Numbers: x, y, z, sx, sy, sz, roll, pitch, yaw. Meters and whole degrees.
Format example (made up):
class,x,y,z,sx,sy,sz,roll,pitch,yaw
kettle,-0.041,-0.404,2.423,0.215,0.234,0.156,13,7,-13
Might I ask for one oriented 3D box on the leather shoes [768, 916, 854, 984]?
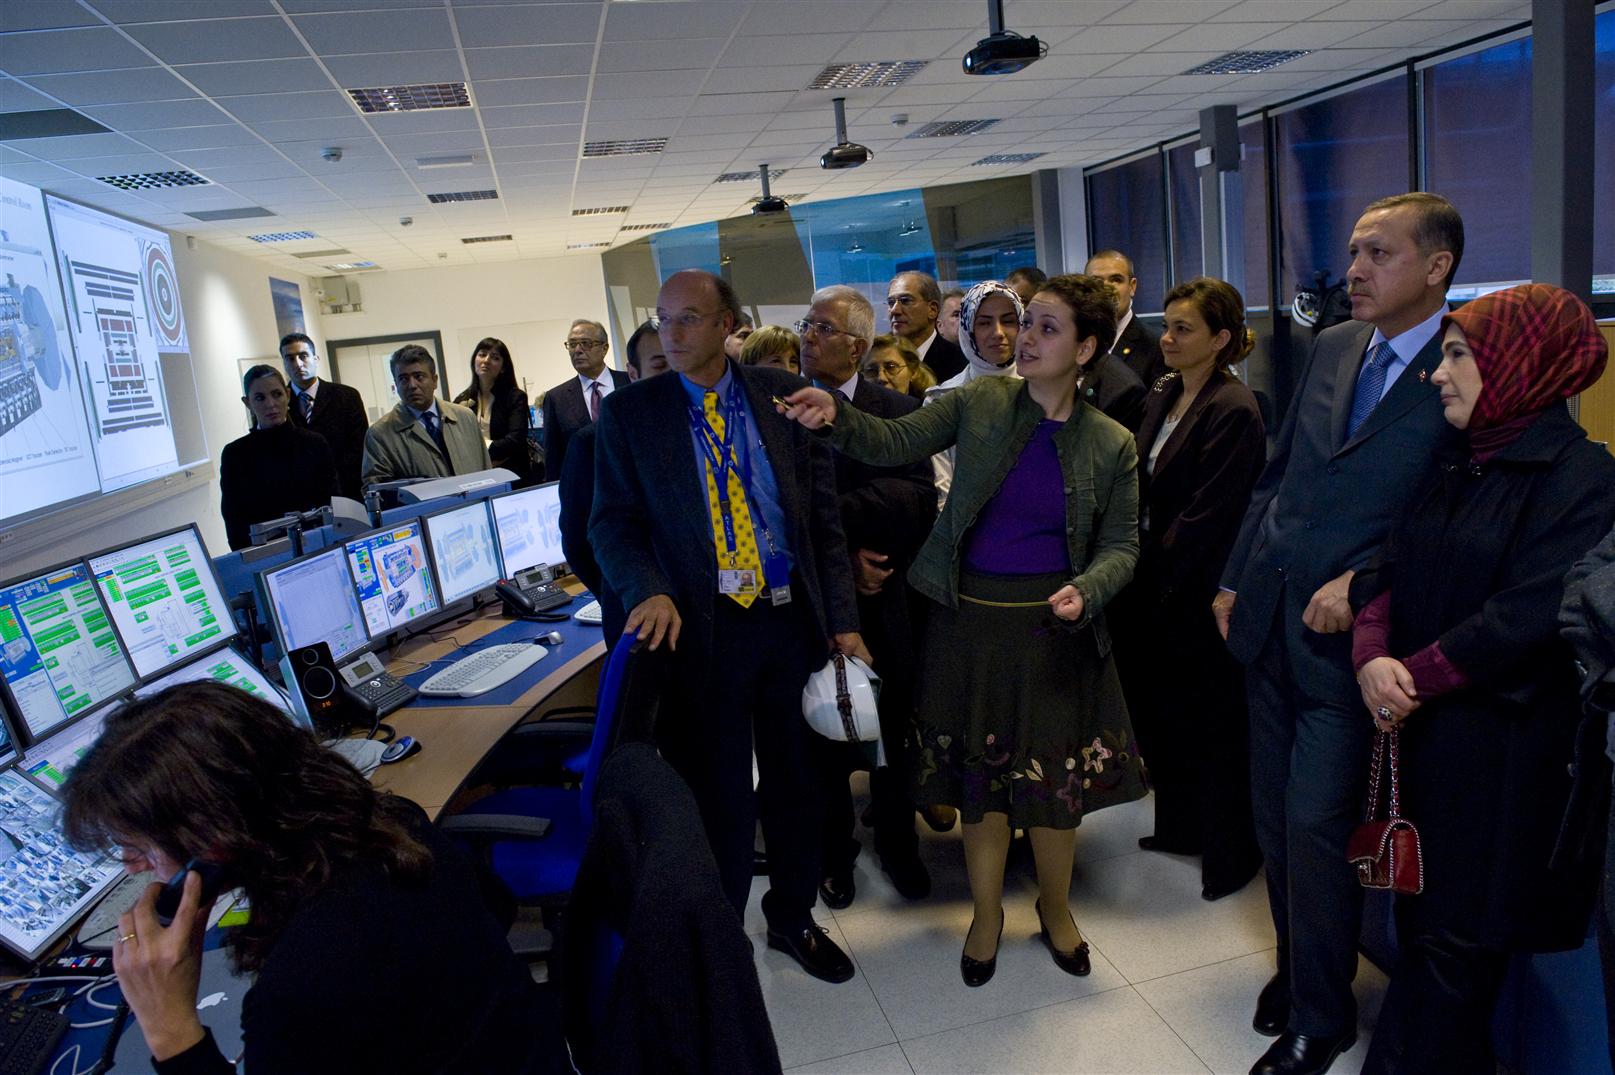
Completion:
class,x,y,z,sx,sy,sz,roll,pitch,yaw
leather shoes,0.017,1.344,3.607,0.356,0.136,0.133,14,19,37

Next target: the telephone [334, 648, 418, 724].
class,x,y,z,sx,sy,sz,roll,pitch,yaw
telephone,-1.508,0.498,3.650,0.256,0.097,0.195,31,33,24

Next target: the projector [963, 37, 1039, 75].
class,x,y,z,sx,sy,sz,roll,pitch,yaw
projector,1.077,-2.600,5.755,0.291,0.128,0.278,-5,-3,-15

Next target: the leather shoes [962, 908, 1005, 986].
class,x,y,z,sx,sy,sz,roll,pitch,yaw
leather shoes,0.572,1.335,3.472,0.121,0.049,0.353,4,18,18

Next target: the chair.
class,x,y,z,sx,sy,sz,roll,pitch,yaw
chair,-0.781,0.638,3.149,0.563,0.906,0.568,11,14,-3

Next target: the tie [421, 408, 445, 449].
class,x,y,z,sx,sy,sz,roll,pitch,yaw
tie,-2.138,-0.616,6.029,0.098,0.198,0.116,-8,11,43

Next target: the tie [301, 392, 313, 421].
class,x,y,z,sx,sy,sz,roll,pitch,yaw
tie,-3.506,-0.905,7.376,0.129,0.170,0.054,-6,-10,27

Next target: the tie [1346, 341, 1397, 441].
class,x,y,z,sx,sy,sz,roll,pitch,yaw
tie,1.555,-0.414,2.929,0.166,0.252,0.094,-19,19,-26

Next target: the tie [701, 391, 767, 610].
class,x,y,z,sx,sy,sz,roll,pitch,yaw
tie,-0.245,-0.126,3.306,0.170,0.634,0.255,-12,17,-2

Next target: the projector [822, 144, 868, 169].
class,x,y,z,sx,sy,sz,roll,pitch,yaw
projector,0.284,-2.894,8.124,0.434,0.196,0.256,-3,9,-3

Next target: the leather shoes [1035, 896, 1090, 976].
class,x,y,z,sx,sy,sz,roll,pitch,yaw
leather shoes,0.847,1.329,3.547,0.102,0.117,0.287,-1,10,-27
